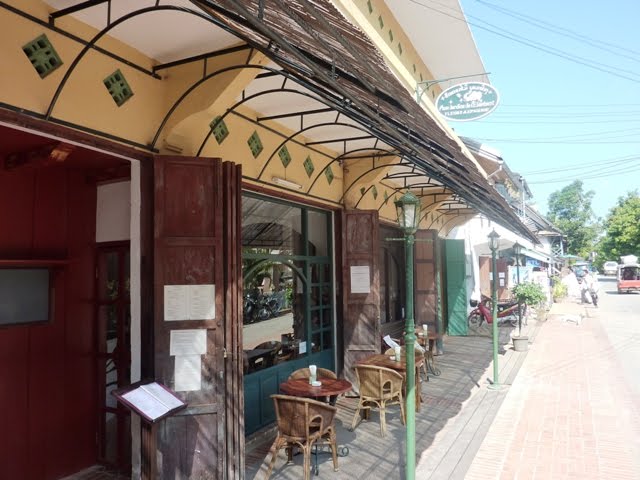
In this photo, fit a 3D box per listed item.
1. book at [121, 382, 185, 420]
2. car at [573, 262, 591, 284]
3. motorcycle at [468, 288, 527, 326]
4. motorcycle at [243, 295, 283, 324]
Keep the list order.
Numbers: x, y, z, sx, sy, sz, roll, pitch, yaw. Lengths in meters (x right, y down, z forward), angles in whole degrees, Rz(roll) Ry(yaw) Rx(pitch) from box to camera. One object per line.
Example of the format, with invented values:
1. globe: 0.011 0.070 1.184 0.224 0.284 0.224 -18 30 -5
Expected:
1. book: -1.876 1.797 5.271 0.461 0.331 0.622 -6 -4 19
2. car: 23.671 2.997 42.697 1.200 1.288 2.227 0 6 18
3. motorcycle: 7.179 2.922 19.277 2.669 1.971 1.413 3 -15 -9
4. motorcycle: -1.039 1.211 8.208 0.325 0.341 0.501 -9 -10 33
